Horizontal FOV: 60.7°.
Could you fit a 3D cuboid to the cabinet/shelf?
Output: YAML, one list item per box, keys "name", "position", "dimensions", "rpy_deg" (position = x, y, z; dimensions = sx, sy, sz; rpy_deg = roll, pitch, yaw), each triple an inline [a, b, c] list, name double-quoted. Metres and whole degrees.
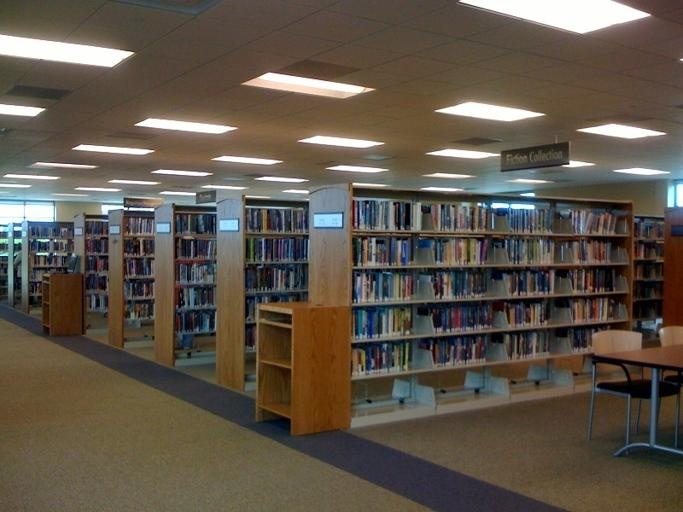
- name: "cabinet/shelf"
  position: [1.627, 0.555, 8.240]
  dimensions: [5.485, 2.878, 1.295]
  rpy_deg: [-1, 3, -28]
